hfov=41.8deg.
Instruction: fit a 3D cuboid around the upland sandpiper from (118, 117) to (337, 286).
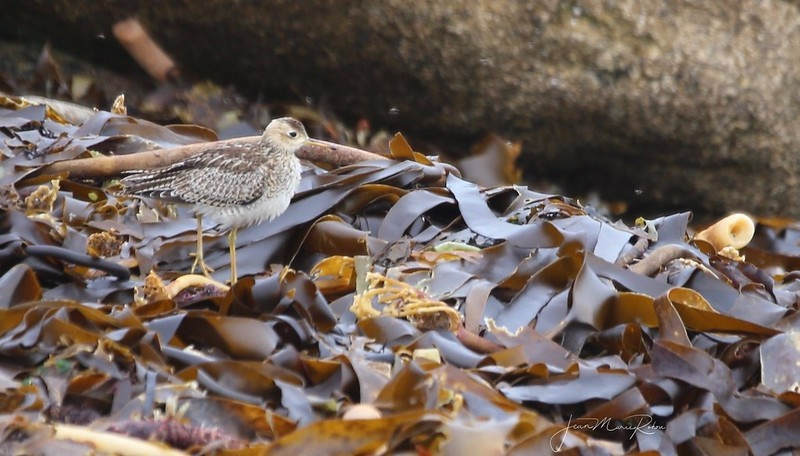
[{"bbox_3d":[-0.913,-0.270,5.691,0.968,0.404,0.587,-28,69,-31],"label":"upland sandpiper"}]
